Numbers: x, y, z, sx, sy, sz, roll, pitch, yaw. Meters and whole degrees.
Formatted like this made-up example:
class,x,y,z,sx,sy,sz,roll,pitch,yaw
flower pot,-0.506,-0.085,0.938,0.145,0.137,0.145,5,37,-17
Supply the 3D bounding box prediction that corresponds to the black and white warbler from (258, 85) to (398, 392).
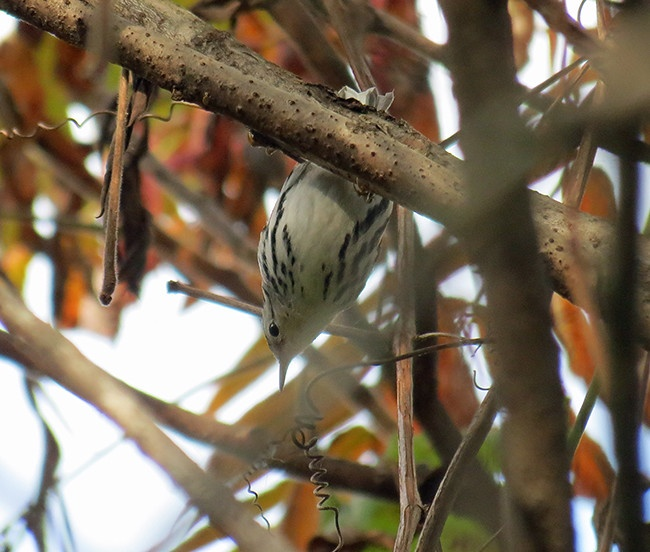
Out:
class,x,y,z,sx,sy,sz,roll,pitch,yaw
black and white warbler,0.007,-0.066,3.132,0.313,0.439,0.780,0,-84,7
